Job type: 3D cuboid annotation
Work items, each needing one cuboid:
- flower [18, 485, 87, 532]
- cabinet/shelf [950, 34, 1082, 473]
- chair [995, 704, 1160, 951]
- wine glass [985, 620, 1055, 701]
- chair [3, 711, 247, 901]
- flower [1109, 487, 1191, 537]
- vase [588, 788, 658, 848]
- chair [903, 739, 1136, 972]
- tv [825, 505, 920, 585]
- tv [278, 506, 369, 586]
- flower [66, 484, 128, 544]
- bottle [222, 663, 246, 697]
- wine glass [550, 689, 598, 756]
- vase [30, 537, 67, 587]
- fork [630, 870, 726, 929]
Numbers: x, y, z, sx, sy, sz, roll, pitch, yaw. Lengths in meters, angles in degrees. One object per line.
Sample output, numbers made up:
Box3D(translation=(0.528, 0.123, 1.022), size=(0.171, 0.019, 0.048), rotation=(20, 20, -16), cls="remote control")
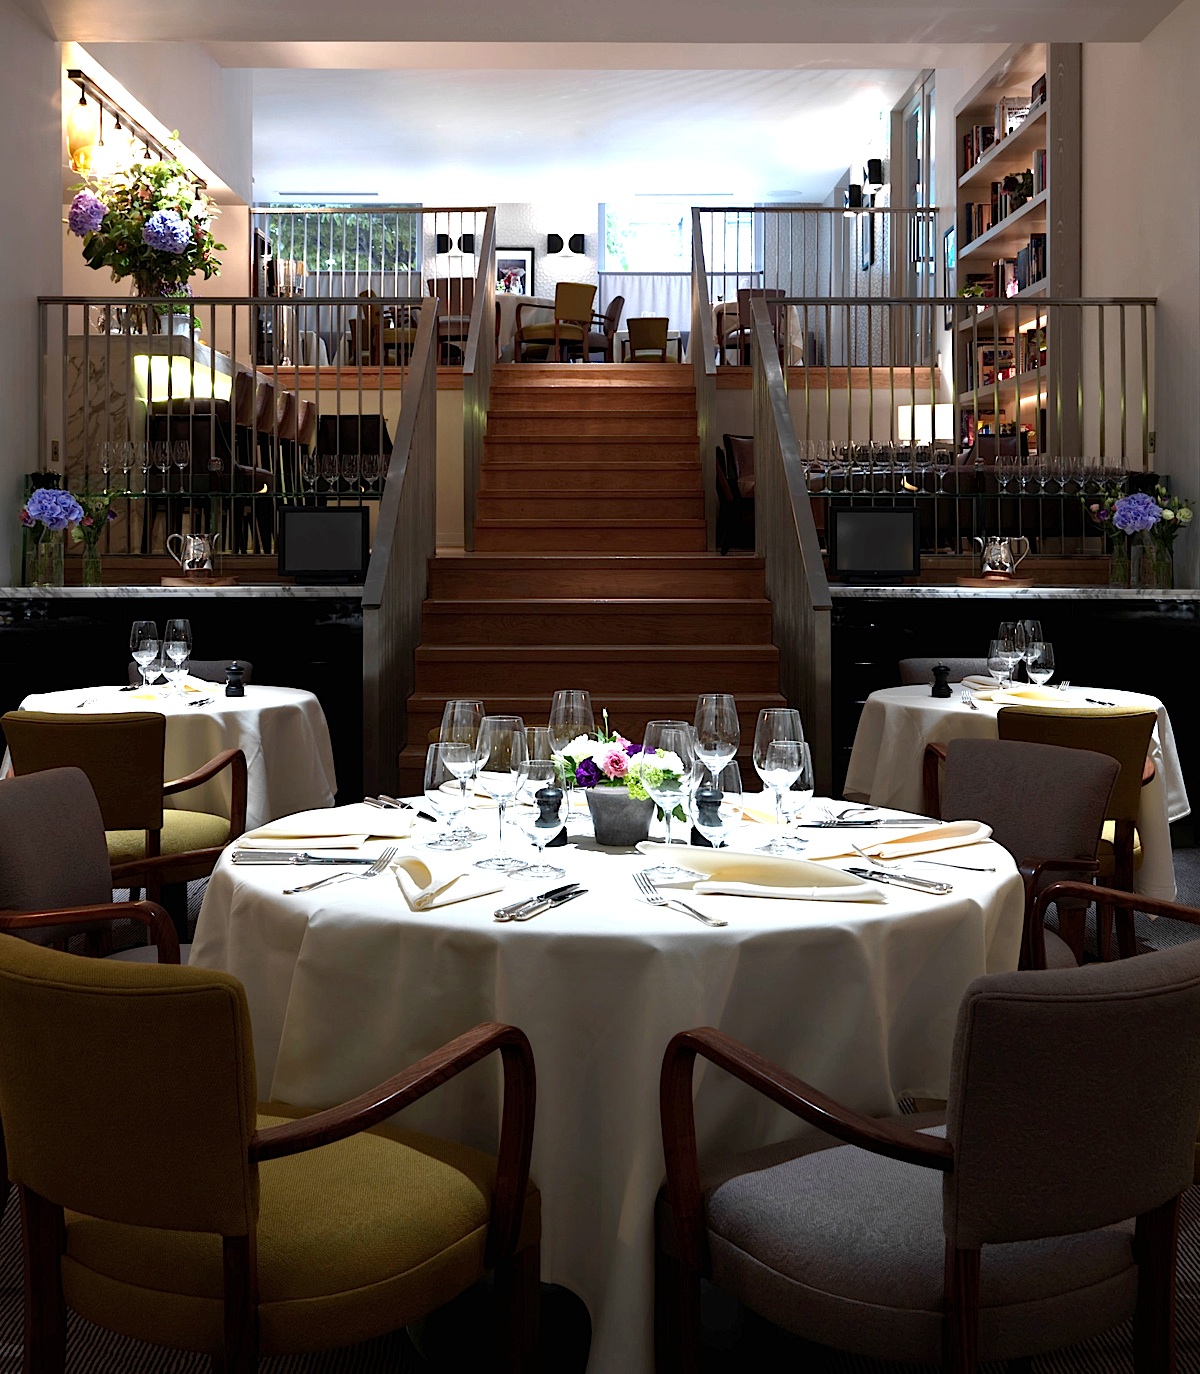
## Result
Box3D(translation=(-2.855, -0.929, 5.761), size=(0.274, 0.224, 0.463), rotation=(-2, 7, -29), cls="flower")
Box3D(translation=(3.251, -3.366, 8.573), size=(0.637, 3.192, 2.309), rotation=(1, 5, 10), cls="cabinet/shelf")
Box3D(translation=(1.315, 0.340, 3.145), size=(0.349, 0.841, 0.472), rotation=(3, 9, 28), cls="chair")
Box3D(translation=(1.521, -0.092, 3.967), size=(0.184, 0.441, 0.244), rotation=(-1, 4, -9), cls="wine glass")
Box3D(translation=(-1.146, 0.282, 2.634), size=(0.311, 0.684, 0.404), rotation=(2, 10, 9), cls="chair")
Box3D(translation=(2.956, -0.938, 5.945), size=(0.519, 0.247, 0.320), rotation=(-3, 7, -34), cls="flower")
Box3D(translation=(0.031, 0.218, 1.830), size=(0.089, 0.094, 0.086), rotation=(0, 2, -44), cls="vase")
Box3D(translation=(0.994, 0.264, 2.524), size=(0.389, 0.822, 0.382), rotation=(2, -1, 37), cls="chair")
Box3D(translation=(1.352, -0.723, 5.483), size=(0.404, 0.547, 0.280), rotation=(1, 5, 3), cls="tv")
Box3D(translation=(-1.342, -0.701, 5.344), size=(0.426, 0.579, 0.300), rotation=(1, 8, 0), cls="tv")
Box3D(translation=(-2.867, -0.997, 6.203), size=(0.288, 0.511, 0.300), rotation=(3, 5, 19), cls="flower")
Box3D(translation=(-1.350, -0.028, 4.025), size=(0.069, 0.186, 0.089), rotation=(0, 3, -1), cls="bottle")
Box3D(translation=(-0.050, 0.062, 1.988), size=(0.068, 0.148, 0.083), rotation=(-1, 2, -20), cls="wine glass")
Box3D(translation=(-3.002, -0.703, 5.931), size=(0.140, 0.290, 0.503), rotation=(-3, 7, -36), cls="vase")
Box3D(translation=(0.105, 0.279, 1.457), size=(0.037, 0.055, 0.300), rotation=(-12, 4, -8), cls="fork")
